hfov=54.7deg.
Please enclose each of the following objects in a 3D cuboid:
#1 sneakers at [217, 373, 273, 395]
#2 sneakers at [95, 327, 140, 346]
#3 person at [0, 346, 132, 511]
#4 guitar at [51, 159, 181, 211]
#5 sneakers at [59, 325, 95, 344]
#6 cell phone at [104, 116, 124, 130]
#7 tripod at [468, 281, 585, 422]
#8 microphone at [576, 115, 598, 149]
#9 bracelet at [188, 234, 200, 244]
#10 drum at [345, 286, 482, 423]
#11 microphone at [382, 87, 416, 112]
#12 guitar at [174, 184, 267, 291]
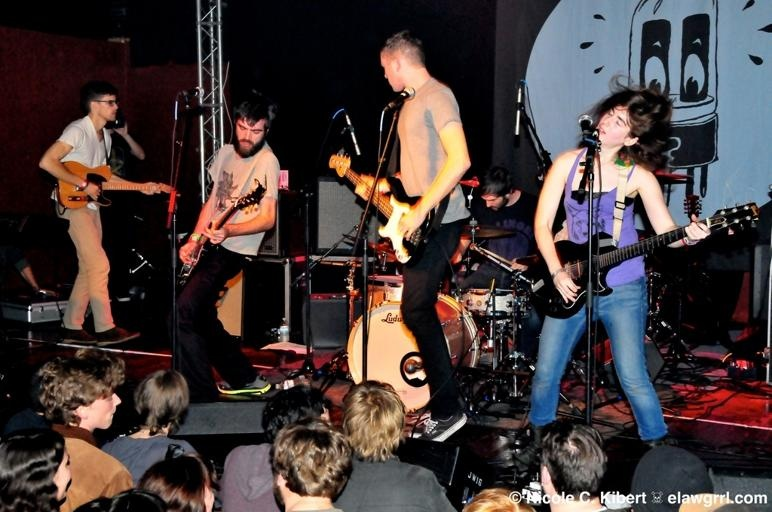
[{"bbox_3d":[-1.338,1.212,7.073,0.505,0.200,0.182,4,-14,-6],"label":"sneakers"},{"bbox_3d":[-2.998,0.876,8.336,0.507,0.208,0.201,-4,3,-17],"label":"sneakers"},{"bbox_3d":[-2.174,1.187,5.081,0.423,0.731,0.763,-15,14,-43],"label":"person"},{"bbox_3d":[-3.290,-0.772,8.355,0.757,0.532,0.488,1,2,-31],"label":"guitar"},{"bbox_3d":[-3.444,0.882,8.379,0.404,0.155,0.176,1,-4,1],"label":"sneakers"},{"bbox_3d":[-3.263,-1.587,8.997,0.159,0.215,0.070,39,24,0],"label":"cell phone"},{"bbox_3d":[1.450,0.868,7.763,1.152,1.187,1.125,0,-5,13],"label":"tripod"},{"bbox_3d":[1.494,-0.904,5.583,0.120,0.337,0.141,-8,40,26],"label":"microphone"},{"bbox_3d":[-1.731,-0.154,6.736,0.078,0.076,0.076,5,-26,9],"label":"bracelet"},{"bbox_3d":[0.142,0.808,7.527,1.512,1.510,1.033,-4,1,32],"label":"drum"},{"bbox_3d":[0.109,-1.260,6.049,0.241,0.077,0.152,-33,15,2],"label":"microphone"},{"bbox_3d":[-1.530,-0.185,6.769,0.816,0.935,0.235,2,1,16],"label":"guitar"}]
